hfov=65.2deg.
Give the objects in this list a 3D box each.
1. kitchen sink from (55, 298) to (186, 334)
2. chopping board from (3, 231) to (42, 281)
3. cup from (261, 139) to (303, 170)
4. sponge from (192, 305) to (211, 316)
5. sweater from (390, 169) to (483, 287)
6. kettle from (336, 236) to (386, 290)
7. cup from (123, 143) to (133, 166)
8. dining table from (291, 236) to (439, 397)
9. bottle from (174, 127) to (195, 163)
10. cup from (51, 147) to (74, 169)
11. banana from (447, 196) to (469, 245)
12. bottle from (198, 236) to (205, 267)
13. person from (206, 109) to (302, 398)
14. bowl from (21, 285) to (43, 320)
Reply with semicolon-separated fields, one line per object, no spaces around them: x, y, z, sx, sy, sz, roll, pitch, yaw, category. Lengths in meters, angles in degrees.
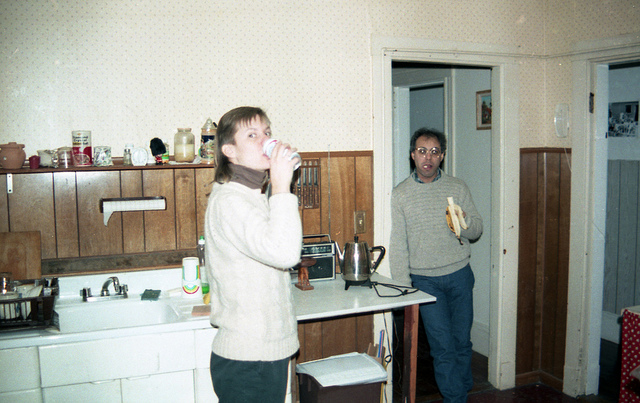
-1.424;0.807;3.601;0.832;0.221;0.733;-1;4;-18;kitchen sink
-2.113;0.384;3.557;0.244;0.338;0.054;-3;5;-2;chopping board
-0.208;-0.283;2.760;0.224;0.121;0.092;41;-12;19;cup
-0.794;0.738;3.386;0.079;0.021;0.085;1;5;-10;sponge
0.898;0.203;4.062;0.607;0.975;0.560;-1;-3;4;sweater
0.276;0.473;3.814;0.436;0.431;0.306;0;1;-6;kettle
-1.417;-0.350;3.684;0.073;0.168;0.158;-6;7;-35;cup
0.244;0.610;4.013;1.206;1.009;1.353;-4;11;-16;dining table
-1.024;-0.433;3.807;0.171;0.254;0.158;1;9;0;bottle
-1.812;-0.314;3.562;0.152;0.160;0.152;1;-2;0;cup
1.054;0.137;3.899;0.122;0.299;0.192;-20;5;-15;banana
-0.902;0.388;3.824;0.038;0.222;0.038;-3;5;0;bottle
-0.343;0.294;2.725;0.521;1.582;0.356;-2;5;5;person
-1.890;0.661;3.303;0.116;0.146;0.244;-5;7;-27;bowl
